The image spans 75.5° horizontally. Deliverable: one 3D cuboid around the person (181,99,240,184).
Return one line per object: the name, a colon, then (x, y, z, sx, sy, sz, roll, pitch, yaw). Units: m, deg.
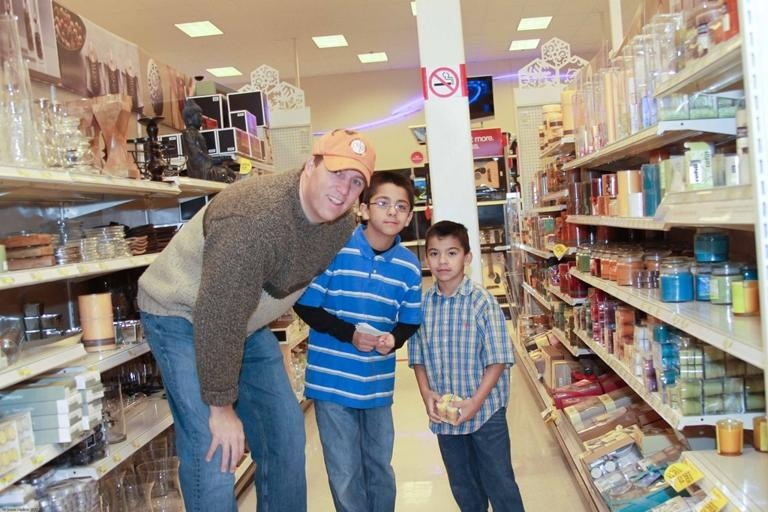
person: (-1.440, -0.915, 4.123, 0.441, 0.736, 0.414, 0, 4, -12)

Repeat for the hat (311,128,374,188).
hat: (-0.159, -0.440, 2.098, 0.242, 0.159, 0.332, 8, 13, -30)

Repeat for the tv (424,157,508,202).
tv: (1.336, -1.335, 8.477, 1.408, 0.852, 0.873, 4, 5, 26)
